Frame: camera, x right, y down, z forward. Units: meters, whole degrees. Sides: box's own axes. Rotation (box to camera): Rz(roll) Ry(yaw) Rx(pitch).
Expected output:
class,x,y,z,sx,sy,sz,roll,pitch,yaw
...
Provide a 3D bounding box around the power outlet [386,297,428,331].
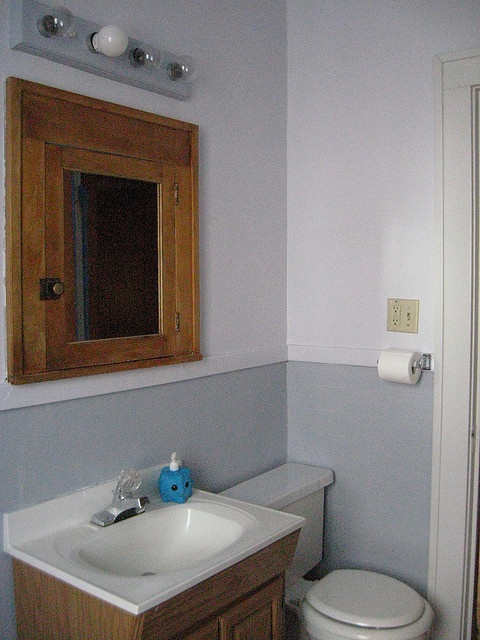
class,x,y,z,sx,sy,sz,roll,pitch,yaw
power outlet,0.542,-0.021,1.726,0.010,0.112,0.096,1,1,-38

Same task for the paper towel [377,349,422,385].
class,x,y,z,sx,sy,sz,roll,pitch,yaw
paper towel,0.495,0.126,1.666,0.119,0.122,0.097,1,-3,42

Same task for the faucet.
class,x,y,z,sx,sy,sz,roll,pitch,yaw
faucet,-0.279,0.424,1.292,0.059,0.128,0.160,2,0,26

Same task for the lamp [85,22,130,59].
class,x,y,z,sx,sy,sz,roll,pitch,yaw
lamp,-0.293,-0.610,1.214,0.074,0.075,0.071,21,-8,19
